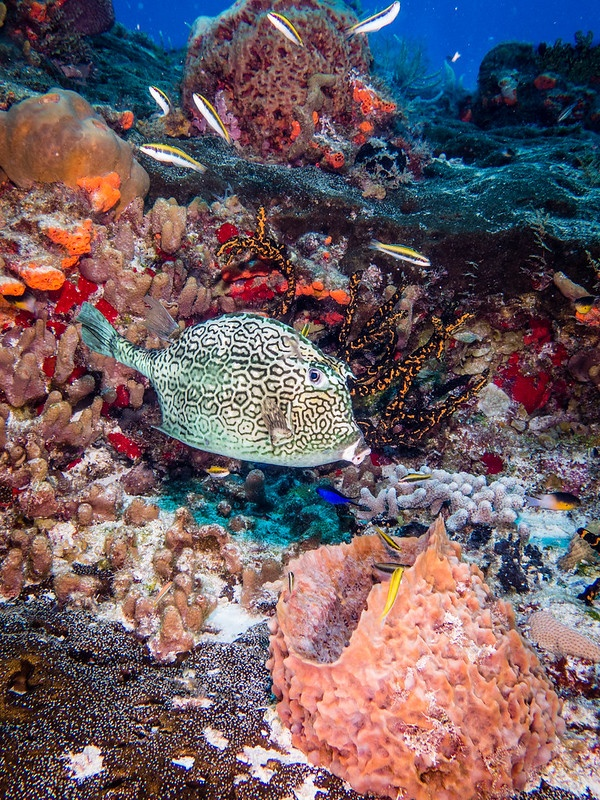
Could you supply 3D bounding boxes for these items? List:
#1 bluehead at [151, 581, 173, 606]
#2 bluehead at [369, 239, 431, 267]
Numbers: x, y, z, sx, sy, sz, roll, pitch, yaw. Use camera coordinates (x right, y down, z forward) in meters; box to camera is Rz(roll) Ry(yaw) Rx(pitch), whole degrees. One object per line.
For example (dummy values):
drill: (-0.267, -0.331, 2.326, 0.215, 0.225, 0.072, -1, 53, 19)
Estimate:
bluehead: (-1.060, 1.484, 5.661, 0.059, 0.053, 0.209, 20, 42, 15)
bluehead: (0.993, -1.454, 7.309, 0.514, 0.122, 0.195, 23, 41, 18)
